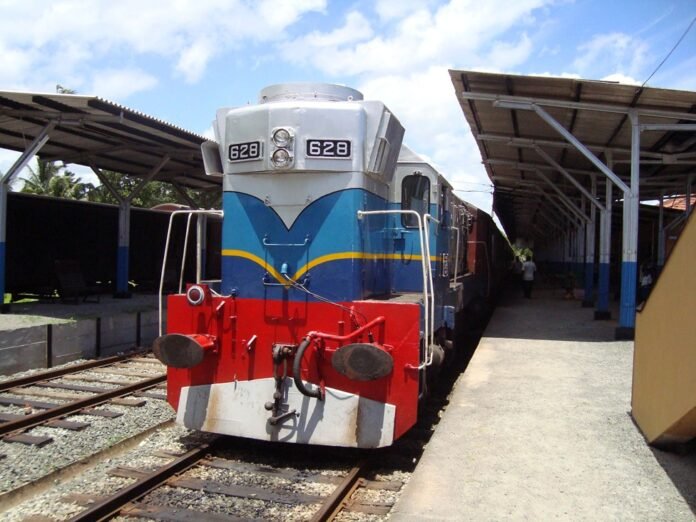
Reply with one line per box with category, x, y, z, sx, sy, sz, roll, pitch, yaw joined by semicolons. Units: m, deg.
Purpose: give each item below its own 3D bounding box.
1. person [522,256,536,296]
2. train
person;8.222;0.806;20.807;0.461;1.667;1.864;-1;4;19
train;0.644;-0.206;11.190;3.633;4.667;12.240;2;2;15
